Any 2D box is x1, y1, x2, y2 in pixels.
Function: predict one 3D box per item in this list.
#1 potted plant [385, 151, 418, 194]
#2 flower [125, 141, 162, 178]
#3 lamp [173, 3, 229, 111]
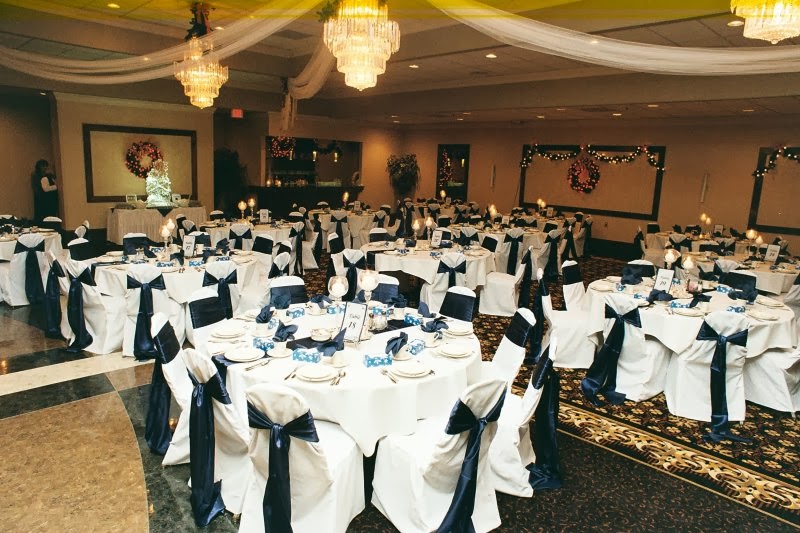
[{"bbox_3d":[0.292,-3.410,20.009,1.399,1.772,1.353,6,10,36],"label":"potted plant"},{"bbox_3d":[-6.899,-2.888,14.454,0.891,1.012,0.216,-3,11,-26],"label":"flower"},{"bbox_3d":[-3.123,-3.429,8.434,0.756,1.715,2.378,-2,9,-19],"label":"lamp"}]
